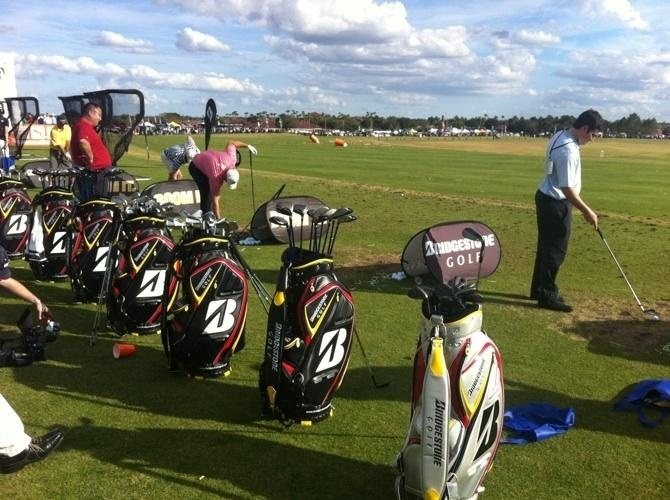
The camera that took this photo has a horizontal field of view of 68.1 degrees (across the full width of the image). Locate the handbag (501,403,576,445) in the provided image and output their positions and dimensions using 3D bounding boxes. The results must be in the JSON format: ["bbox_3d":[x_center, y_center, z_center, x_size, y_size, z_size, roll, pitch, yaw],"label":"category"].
[{"bbox_3d":[1.965,1.732,4.974,0.971,0.133,0.478,-4,13,-23],"label":"handbag"}]

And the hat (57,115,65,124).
[{"bbox_3d":[-10.433,-4.968,18.741,0.202,0.337,1.163,-7,14,-31],"label":"hat"}]

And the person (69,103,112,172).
[{"bbox_3d":[-5.031,-2.326,10.071,0.712,1.326,1.015,-6,14,-26],"label":"person"}]

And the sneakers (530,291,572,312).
[{"bbox_3d":[3.463,0.826,7.978,0.606,0.250,0.206,1,9,26],"label":"sneakers"}]

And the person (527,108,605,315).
[{"bbox_3d":[3.564,-0.590,7.762,0.854,3.105,1.171,5,13,20],"label":"person"}]

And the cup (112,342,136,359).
[{"bbox_3d":[-2.691,1.271,6.296,0.279,0.207,0.223,-7,7,-36],"label":"cup"}]
